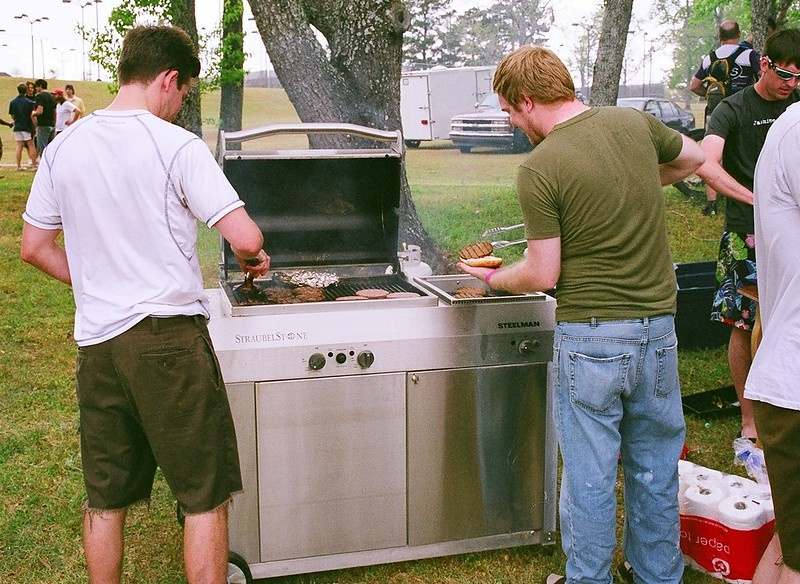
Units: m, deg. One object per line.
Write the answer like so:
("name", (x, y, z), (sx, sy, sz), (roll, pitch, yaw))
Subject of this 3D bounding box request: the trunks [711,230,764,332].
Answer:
("trunks", (1.922, -0.093, 4.296), (0.370, 0.528, 0.369), (-4, -11, 27))

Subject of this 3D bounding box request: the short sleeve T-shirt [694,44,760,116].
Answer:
("short sleeve T-shirt", (3.049, -1.917, 7.219), (0.547, 0.675, 0.362), (9, -8, 28))

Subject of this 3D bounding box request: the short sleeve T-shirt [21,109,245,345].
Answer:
("short sleeve T-shirt", (-1.006, -0.248, 2.876), (0.858, 0.847, 0.432), (1, 6, 9))

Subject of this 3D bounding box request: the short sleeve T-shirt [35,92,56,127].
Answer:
("short sleeve T-shirt", (-5.356, -2.781, 11.643), (0.218, 0.537, 0.454), (9, 15, 18))

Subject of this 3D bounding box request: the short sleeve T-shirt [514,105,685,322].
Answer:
("short sleeve T-shirt", (0.741, -0.274, 2.857), (0.557, 0.782, 0.262), (-7, 15, -20))

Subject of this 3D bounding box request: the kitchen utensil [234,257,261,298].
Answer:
("kitchen utensil", (-0.656, -0.066, 3.315), (0.103, 0.159, 0.107), (16, 36, -18))

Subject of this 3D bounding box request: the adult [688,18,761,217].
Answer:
("adult", (3.131, -1.676, 7.375), (0.621, 1.767, 0.516), (4, 6, 32))
